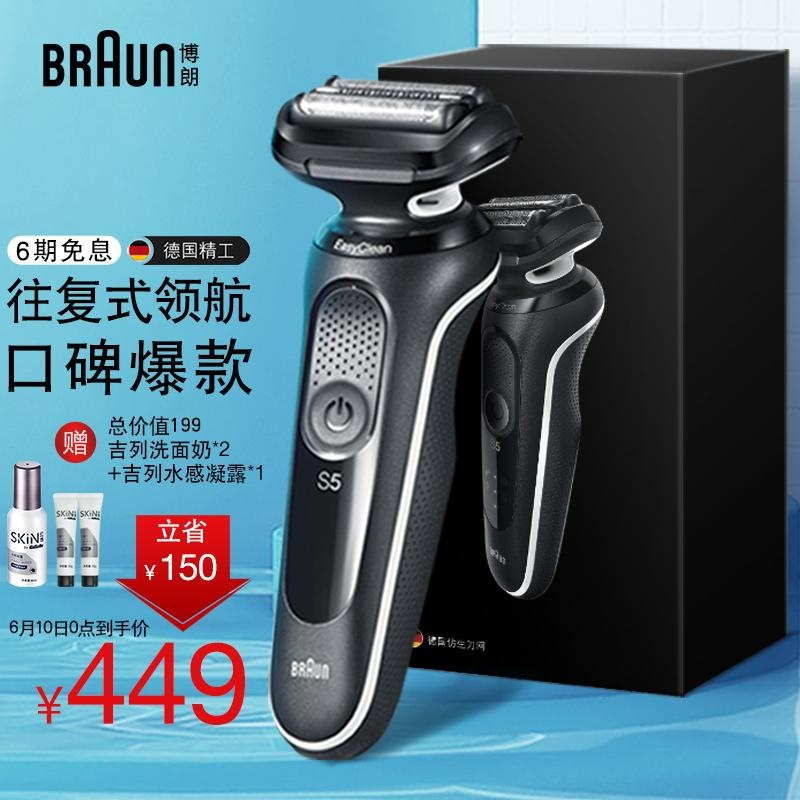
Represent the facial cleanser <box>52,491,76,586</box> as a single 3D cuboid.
[{"bbox_3d":[-0.343,0.146,0.946,0.026,0.096,0.013,1,6,17],"label":"facial cleanser"}]
